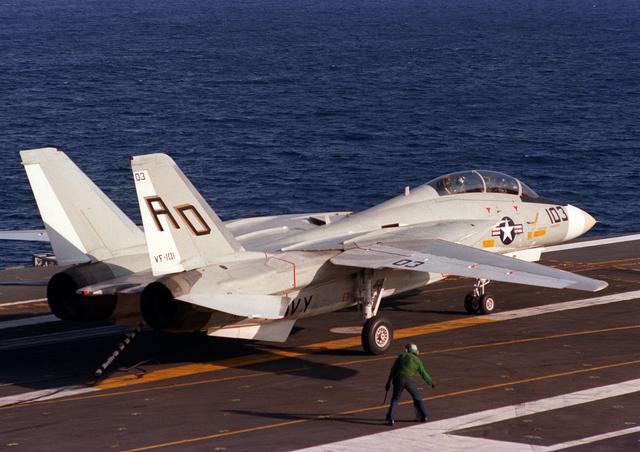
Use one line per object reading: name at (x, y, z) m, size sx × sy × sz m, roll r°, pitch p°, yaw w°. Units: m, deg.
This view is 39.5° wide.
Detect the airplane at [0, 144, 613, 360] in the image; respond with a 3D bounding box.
airplane at (0.278, 1.102, 39.993) m, size 20.679 × 3.525 × 19.481 m, roll -5°, pitch 8°, yaw -41°
